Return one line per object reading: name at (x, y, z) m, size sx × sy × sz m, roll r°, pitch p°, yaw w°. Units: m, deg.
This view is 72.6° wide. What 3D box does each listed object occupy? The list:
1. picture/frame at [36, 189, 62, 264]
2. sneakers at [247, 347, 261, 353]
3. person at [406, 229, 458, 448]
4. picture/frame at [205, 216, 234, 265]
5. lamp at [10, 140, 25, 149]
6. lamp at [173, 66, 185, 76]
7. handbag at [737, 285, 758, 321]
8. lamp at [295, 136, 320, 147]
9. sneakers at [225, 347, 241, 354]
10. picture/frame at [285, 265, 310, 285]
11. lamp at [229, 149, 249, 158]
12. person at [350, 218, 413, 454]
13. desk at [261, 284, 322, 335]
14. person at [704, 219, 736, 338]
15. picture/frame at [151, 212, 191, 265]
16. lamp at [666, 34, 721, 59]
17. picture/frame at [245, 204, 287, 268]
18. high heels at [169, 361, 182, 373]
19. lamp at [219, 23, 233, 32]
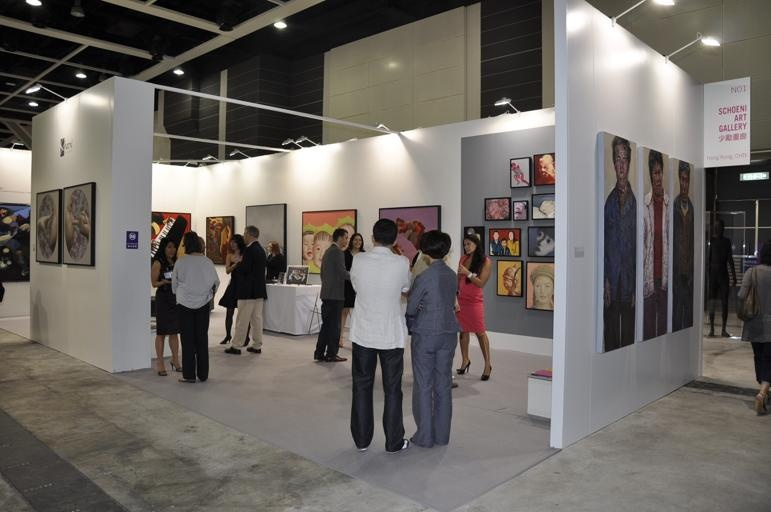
picture/frame at (-5.931, -0.508, 9.335) m, size 0.258 × 1.329 × 1.386 m, roll -4°, pitch 8°, yaw -41°
sneakers at (-2.214, 1.632, 9.033) m, size 0.222 × 0.093 × 0.091 m, roll 11°, pitch 7°, yaw 29°
person at (0.505, 0.887, 5.636) m, size 0.566 × 2.282 × 0.368 m, roll 0°, pitch 6°, yaw -6°
picture/frame at (-4.137, -0.431, 13.395) m, size 1.278 × 1.632 × 0.111 m, roll 1°, pitch 0°, yaw 42°
lamp at (-13.723, -4.132, 19.828) m, size 0.411 × 0.255 × 1.872 m, roll -4°, pitch 8°, yaw -35°
lamp at (-5.803, -5.274, 14.931) m, size 0.287 × 0.069 × 0.262 m, roll 13°, pitch -33°, yaw -43°
handbag at (4.604, 0.622, 6.686) m, size 0.190 × 0.430 × 0.109 m, roll 3°, pitch 6°, yaw 17°
lamp at (-1.991, -2.991, 13.786) m, size 0.644 × 0.388 × 1.026 m, roll 0°, pitch 7°, yaw -9°
sneakers at (-2.544, 1.621, 8.990) m, size 0.282 × 0.131 × 0.105 m, roll 9°, pitch 0°, yaw 14°
picture/frame at (-1.772, 0.398, 10.791) m, size 0.426 × 0.347 × 0.043 m, roll -4°, pitch -15°, yaw 25°
lamp at (-4.048, -2.853, 14.610) m, size 0.416 × 0.254 × 0.871 m, roll -4°, pitch 8°, yaw -37°
person at (-0.034, 0.833, 5.520) m, size 0.636 × 2.400 × 0.394 m, roll 0°, pitch 6°, yaw -3°
desk at (-1.856, 1.019, 10.838) m, size 1.605 × 1.231 × 0.876 m, roll 2°, pitch 2°, yaw 44°
person at (6.888, 0.457, 10.779) m, size 0.541 × 2.388 × 0.416 m, roll 3°, pitch 6°, yaw 18°
picture/frame at (-4.637, -0.398, 11.380) m, size 0.041 × 1.191 × 1.146 m, roll -6°, pitch 0°, yaw 42°
lamp at (5.531, -3.753, 9.371) m, size 0.738 × 0.372 × 0.288 m, roll 6°, pitch 8°, yaw 38°
picture/frame at (-2.523, -0.431, 11.567) m, size 1.489 × 1.496 × 0.155 m, roll 1°, pitch -1°, yaw 40°
high heels at (-3.150, 1.669, 7.957) m, size 0.101 × 0.144 × 0.287 m, roll -3°, pitch -2°, yaw -39°
lamp at (-3.527, -5.123, 11.800) m, size 0.286 × 0.120 × 0.376 m, roll -4°, pitch 8°, yaw -34°
